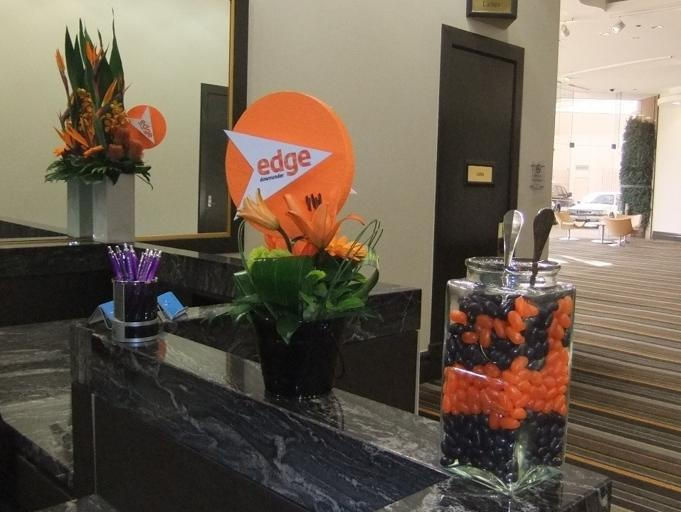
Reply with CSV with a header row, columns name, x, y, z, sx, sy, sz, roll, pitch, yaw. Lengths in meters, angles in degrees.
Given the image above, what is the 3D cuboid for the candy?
name,x,y,z,sx,sy,sz,roll,pitch,yaw
candy,0.256,0.190,0.753,0.192,0.298,0.109,3,7,18

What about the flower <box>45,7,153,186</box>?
name,x,y,z,sx,sy,sz,roll,pitch,yaw
flower,-1.380,-0.813,2.635,0.523,0.744,0.540,-7,14,3
